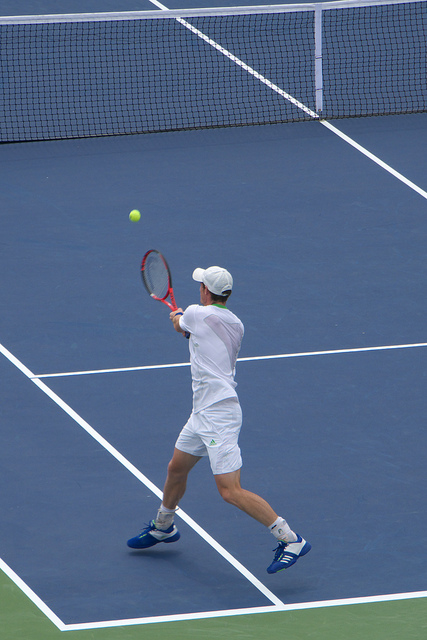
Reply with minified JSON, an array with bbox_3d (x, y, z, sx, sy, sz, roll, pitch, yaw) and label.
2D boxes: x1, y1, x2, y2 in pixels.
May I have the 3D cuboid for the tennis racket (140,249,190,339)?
[{"bbox_3d":[-0.400,-0.228,6.178,0.072,0.917,0.233,-30,-54,-4],"label":"tennis racket"}]

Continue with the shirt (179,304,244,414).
[{"bbox_3d":[-0.035,0.244,5.529,0.415,0.701,0.365,3,-21,2],"label":"shirt"}]

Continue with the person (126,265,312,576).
[{"bbox_3d":[-0.039,0.681,5.704,0.926,1.897,0.963,22,-28,-40],"label":"person"}]
